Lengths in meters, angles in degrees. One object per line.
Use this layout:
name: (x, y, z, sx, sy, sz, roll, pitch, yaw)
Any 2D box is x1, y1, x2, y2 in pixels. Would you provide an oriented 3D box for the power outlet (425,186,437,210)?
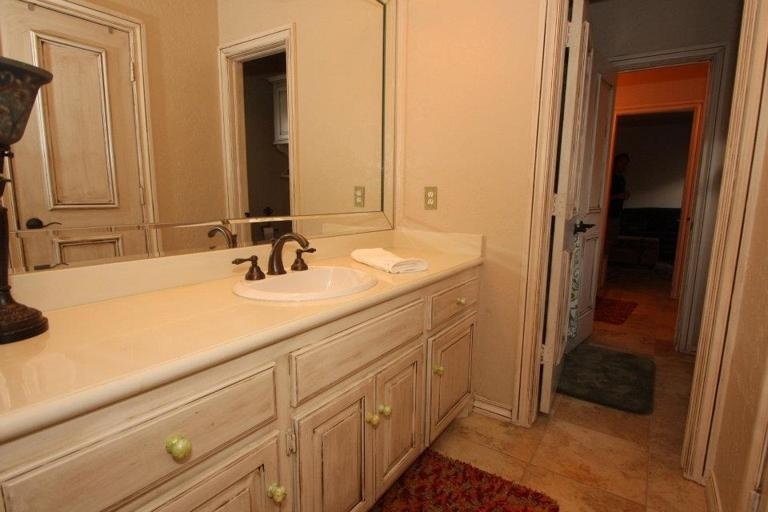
power outlet: (0.269, -0.329, 3.019, 0.078, 0.131, 0.016, 4, 16, 29)

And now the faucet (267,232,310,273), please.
faucet: (-0.427, -0.004, 2.315, 0.199, 0.178, 0.088, -5, -6, 7)
